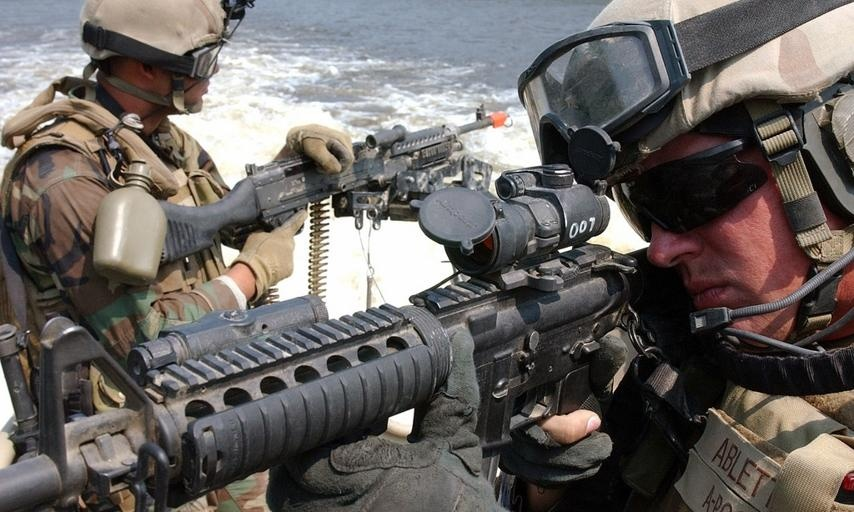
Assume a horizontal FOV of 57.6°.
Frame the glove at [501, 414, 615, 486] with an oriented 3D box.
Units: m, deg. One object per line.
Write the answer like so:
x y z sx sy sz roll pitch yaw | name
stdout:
0.721 1.088 4.377 0.532 0.389 0.217 -2 14 -6 | glove
